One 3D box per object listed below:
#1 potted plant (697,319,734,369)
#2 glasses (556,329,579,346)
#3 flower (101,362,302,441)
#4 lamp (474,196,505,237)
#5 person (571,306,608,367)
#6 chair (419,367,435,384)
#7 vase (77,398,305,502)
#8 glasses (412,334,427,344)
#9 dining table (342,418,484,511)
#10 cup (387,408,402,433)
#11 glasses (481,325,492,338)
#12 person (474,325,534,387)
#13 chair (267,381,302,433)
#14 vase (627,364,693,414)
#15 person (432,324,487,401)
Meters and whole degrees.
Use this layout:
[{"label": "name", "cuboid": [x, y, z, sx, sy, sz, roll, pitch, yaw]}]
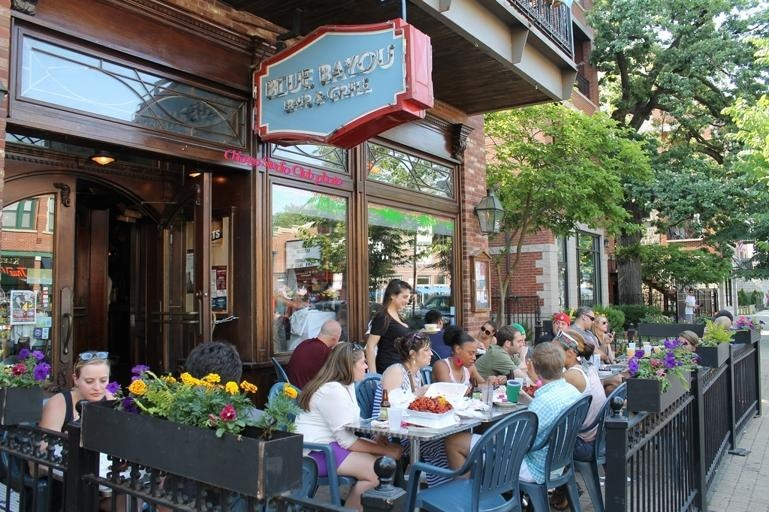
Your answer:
[{"label": "potted plant", "cuboid": [4.752, 1.275, 9.448, 0.554, 0.485, 0.721, -1, -2, 29]}, {"label": "glasses", "cuboid": [2.278, 1.010, 8.150, 0.067, 0.227, 0.226, 4, -5, -17]}, {"label": "flower", "cuboid": [-1.301, 1.091, 4.898, 1.042, 0.332, 0.661, 2, -3, 10]}, {"label": "lamp", "cuboid": [2.090, -0.882, 13.119, 0.505, 0.850, 0.500, -2, -6, 36]}, {"label": "person", "cuboid": [3.344, 1.604, 10.959, 0.515, 1.545, 0.477, 3, 11, 15]}, {"label": "chair", "cuboid": [0.567, 1.616, 8.893, 0.203, 0.253, 0.191, 8, -17, -44]}, {"label": "vase", "cuboid": [-1.449, 1.408, 4.899, 1.796, 0.577, 0.246, -3, -5, 21]}, {"label": "glasses", "cuboid": [0.393, 0.925, 7.451, 0.104, 0.099, 0.034, -4, 7, 2]}, {"label": "dining table", "cuboid": [0.334, 2.104, 6.698, 0.638, 0.544, 1.120, 1, -1, 32]}, {"label": "cup", "cuboid": [0.105, 1.635, 6.605, 0.185, 0.197, 0.180, -1, -7, 0]}, {"label": "glasses", "cuboid": [1.639, 1.217, 10.661, 0.133, 0.055, 0.162, 17, -13, 36]}, {"label": "person", "cuboid": [1.690, 1.610, 9.223, 0.774, 1.218, 0.656, 2, 6, -4]}, {"label": "chair", "cuboid": [-0.747, 1.134, 4.880, 0.245, 0.316, 0.227, 14, -6, -11]}, {"label": "vase", "cuboid": [2.782, 1.365, 6.683, 0.291, 0.393, 1.002, -6, -7, 43]}, {"label": "person", "cuboid": [0.977, 1.369, 8.085, 0.795, 0.967, 0.754, 8, -1, 2]}]
